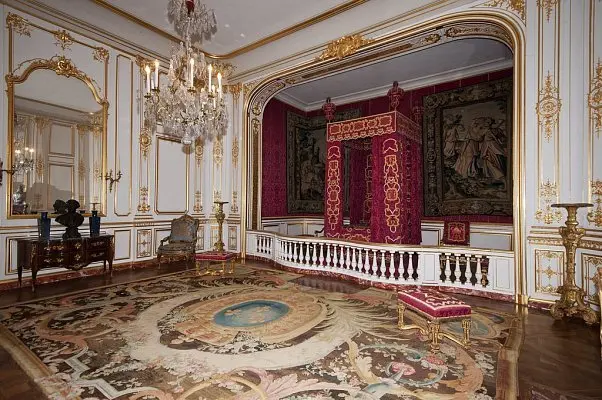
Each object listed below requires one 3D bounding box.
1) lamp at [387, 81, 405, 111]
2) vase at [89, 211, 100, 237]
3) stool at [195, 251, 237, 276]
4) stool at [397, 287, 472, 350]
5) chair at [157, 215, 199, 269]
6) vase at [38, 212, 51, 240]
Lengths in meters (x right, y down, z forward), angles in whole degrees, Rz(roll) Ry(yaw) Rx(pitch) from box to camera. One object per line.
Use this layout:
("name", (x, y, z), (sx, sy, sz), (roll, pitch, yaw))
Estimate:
("lamp", (2.228, -2.504, 9.429), (0.407, 0.660, 0.387), (0, 0, 40))
("vase", (-4.490, 0.497, 8.680), (0.195, 0.547, 0.604), (1, -1, -28))
("stool", (-1.960, 1.495, 9.273), (0.894, 0.438, 0.599), (1, 2, 27))
("stool", (2.184, 1.973, 6.638), (0.791, 0.726, 1.123), (3, -1, -19))
("chair", (-3.002, 1.013, 9.834), (0.799, 1.188, 0.875), (1, 2, 1))
("vase", (-5.084, 0.512, 7.911), (0.185, 0.523, 0.221), (1, -2, -39))
